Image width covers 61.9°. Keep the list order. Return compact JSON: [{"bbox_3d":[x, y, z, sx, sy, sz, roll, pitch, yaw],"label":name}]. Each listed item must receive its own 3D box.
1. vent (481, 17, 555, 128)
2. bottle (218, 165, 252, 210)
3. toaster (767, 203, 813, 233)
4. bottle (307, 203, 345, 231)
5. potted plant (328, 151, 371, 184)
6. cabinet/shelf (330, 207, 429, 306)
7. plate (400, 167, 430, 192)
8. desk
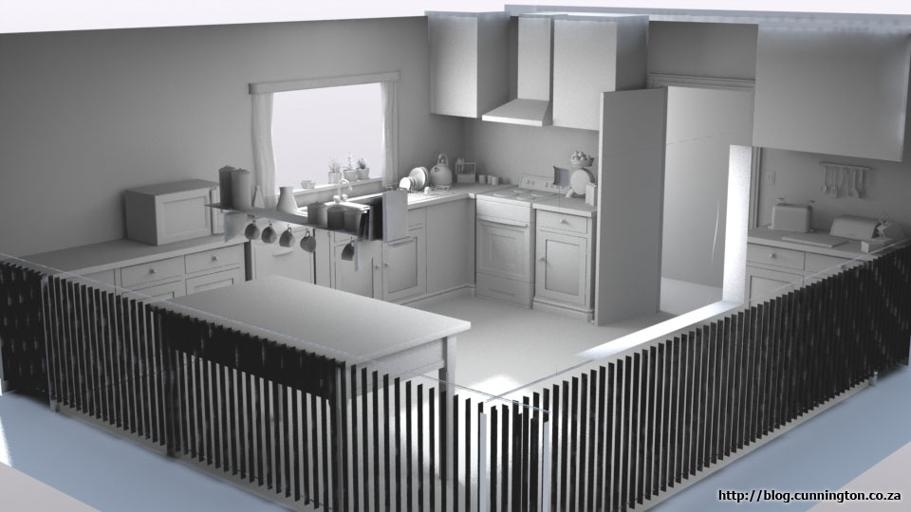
[{"bbox_3d":[1.045,-2.698,10.938,0.868,1.509,0.493,5,15,15],"label":"vent"},{"bbox_3d":[-2.188,-0.713,7.835,0.323,0.413,0.208,0,14,-3],"label":"bottle"},{"bbox_3d":[4.351,-0.518,9.935,0.624,0.397,0.363,9,13,43],"label":"toaster"},{"bbox_3d":[-1.180,-0.401,7.340,0.213,0.258,0.422,-11,18,-41],"label":"bottle"},{"bbox_3d":[-1.474,-1.322,11.281,0.694,0.412,0.228,-7,16,-32],"label":"potted plant"},{"bbox_3d":[-0.762,-0.092,11.784,0.650,1.302,1.599,11,8,-12],"label":"cabinet/shelf"},{"bbox_3d":[-0.558,-1.203,11.616,0.443,0.345,0.527,1,13,-1],"label":"plate"},{"bbox_3d":[-1.233,0.814,7.470,2.589,0.712,1.414,6,14,22],"label":"desk"}]
